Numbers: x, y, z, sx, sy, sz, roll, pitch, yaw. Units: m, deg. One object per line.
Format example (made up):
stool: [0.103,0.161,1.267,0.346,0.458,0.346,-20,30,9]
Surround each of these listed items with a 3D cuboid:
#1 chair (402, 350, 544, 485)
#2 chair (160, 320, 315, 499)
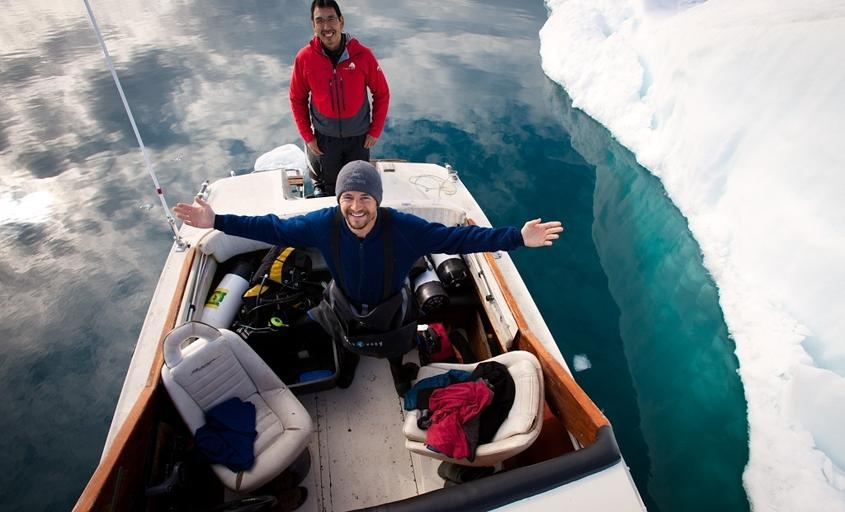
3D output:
chair: [0.612,1.811,5.982,1.881,1.674,1.280,8,72,2]
chair: [-2.213,1.737,5.706,1.303,1.778,1.738,-27,66,-27]
